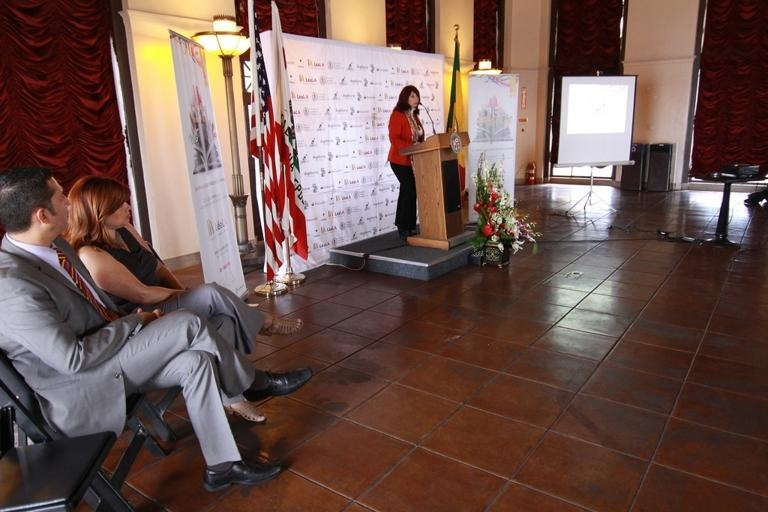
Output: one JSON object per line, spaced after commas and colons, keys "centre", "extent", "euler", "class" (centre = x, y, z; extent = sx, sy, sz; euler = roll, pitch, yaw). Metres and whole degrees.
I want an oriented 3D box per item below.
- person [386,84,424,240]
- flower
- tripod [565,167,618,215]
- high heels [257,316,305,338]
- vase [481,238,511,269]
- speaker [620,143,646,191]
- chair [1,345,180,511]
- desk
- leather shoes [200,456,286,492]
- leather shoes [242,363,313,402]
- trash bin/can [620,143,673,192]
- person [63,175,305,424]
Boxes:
{"centre": [0.334, -1.156, 5.987], "extent": [0.472, 1.839, 0.240], "euler": [-11, 19, -24], "class": "person"}
{"centre": [1.378, -0.513, 5.782], "extent": [0.883, 1.192, 0.825], "euler": [3, 8, 44], "class": "flower"}
{"centre": [4.124, -1.345, 9.372], "extent": [0.742, 0.766, 0.890], "euler": [0, 10, 7], "class": "tripod"}
{"centre": [-0.686, 0.461, 3.186], "extent": [0.326, 0.102, 0.125], "euler": [-6, -23, -8], "class": "high heels"}
{"centre": [1.344, -0.011, 5.641], "extent": [0.326, 0.333, 0.316], "euler": [-3, 5, -43], "class": "vase"}
{"centre": [5.620, -2.039, 11.047], "extent": [0.506, 1.018, 0.567], "euler": [-1, 7, -14], "class": "speaker"}
{"centre": [-1.504, 0.801, 2.578], "extent": [0.875, 0.950, 0.572], "euler": [-1, 9, -3], "class": "chair"}
{"centre": [4.674, -0.657, 6.487], "extent": [0.522, 0.871, 1.012], "euler": [9, 20, 36], "class": "desk"}
{"centre": [-0.772, 1.158, 2.598], "extent": [0.411, 0.153, 0.166], "euler": [-4, 8, -20], "class": "leather shoes"}
{"centre": [-0.659, 0.788, 3.102], "extent": [0.502, 0.195, 0.170], "euler": [-9, 28, -20], "class": "leather shoes"}
{"centre": [5.905, -1.978, 10.507], "extent": [1.048, 1.028, 0.598], "euler": [6, 12, 35], "class": "trash bin/can"}
{"centre": [-1.249, 0.280, 3.043], "extent": [1.367, 1.461, 0.598], "euler": [1, 17, -1], "class": "person"}
